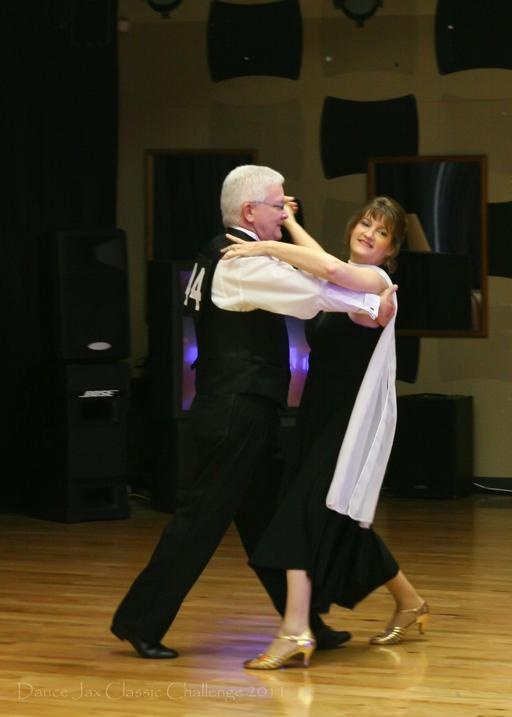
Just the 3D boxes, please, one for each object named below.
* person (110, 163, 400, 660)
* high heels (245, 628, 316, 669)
[{"bbox_3d":[-0.021,0.254,1.990,0.675,1.161,0.267,2,7,12],"label":"person"},{"bbox_3d":[0.079,0.773,1.994,0.226,0.108,0.095,1,-4,4],"label":"high heels"}]
